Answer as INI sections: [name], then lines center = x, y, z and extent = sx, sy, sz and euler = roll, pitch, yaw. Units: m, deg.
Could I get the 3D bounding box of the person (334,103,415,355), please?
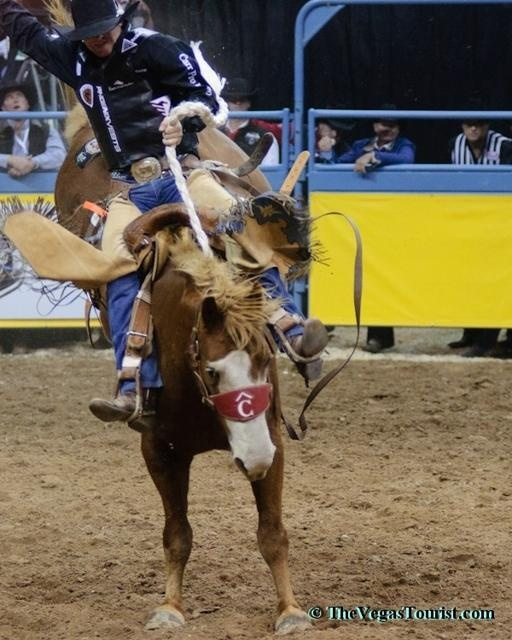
[person]
center = 1.075, -0.817, 8.153
extent = 0.673, 2.212, 0.718
euler = -1, 12, 5

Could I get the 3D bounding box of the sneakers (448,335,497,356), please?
[sneakers]
center = 1.964, 0.238, 8.118
extent = 0.292, 0.126, 0.507
euler = -13, -10, 13
